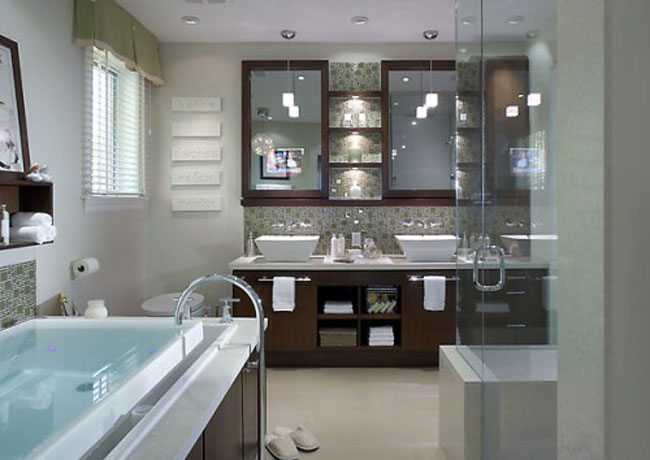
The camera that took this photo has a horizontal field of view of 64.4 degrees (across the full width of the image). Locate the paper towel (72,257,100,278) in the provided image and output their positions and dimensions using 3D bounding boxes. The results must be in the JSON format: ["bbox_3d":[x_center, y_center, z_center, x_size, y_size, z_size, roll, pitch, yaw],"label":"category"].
[{"bbox_3d":[-1.680,0.248,3.635,0.132,0.141,0.158,3,5,12],"label":"paper towel"}]

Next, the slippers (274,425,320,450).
[{"bbox_3d":[-0.167,1.274,3.228,0.107,0.078,0.257,4,-7,-38],"label":"slippers"}]

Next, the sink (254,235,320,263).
[{"bbox_3d":[-0.314,0.167,4.281,0.502,0.195,0.146,-1,8,-11],"label":"sink"}]

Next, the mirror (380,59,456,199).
[{"bbox_3d":[0.855,-0.824,4.660,0.718,1.325,0.071,4,34,14],"label":"mirror"}]

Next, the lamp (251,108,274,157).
[{"bbox_3d":[-0.564,-0.891,4.671,0.195,0.438,0.082,0,7,-6],"label":"lamp"}]

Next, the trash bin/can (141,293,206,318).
[{"bbox_3d":[-1.222,0.567,4.018,0.339,0.145,0.406,-1,3,-5],"label":"trash bin/can"}]
